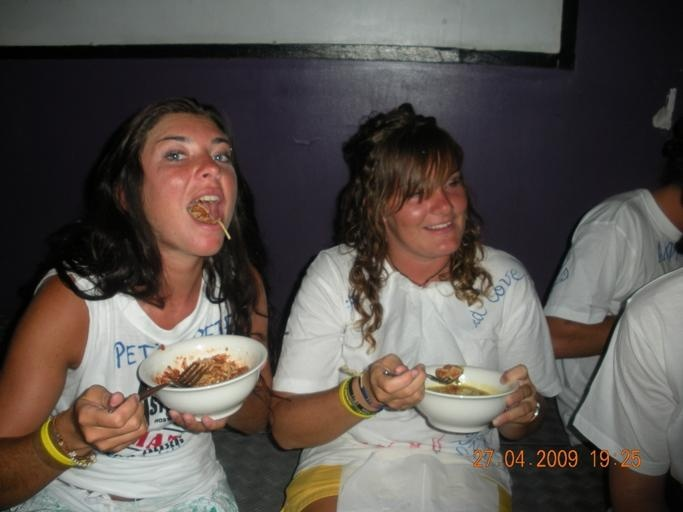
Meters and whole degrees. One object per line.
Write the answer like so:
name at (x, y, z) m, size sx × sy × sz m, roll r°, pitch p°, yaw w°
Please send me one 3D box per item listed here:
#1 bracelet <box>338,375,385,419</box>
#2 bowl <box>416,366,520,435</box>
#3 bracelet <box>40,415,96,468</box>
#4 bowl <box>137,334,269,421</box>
bracelet at (0.103, 0.606, 2.495) m, size 0.072 × 0.186 × 0.172 m, roll -44°, pitch 48°, yaw -19°
bowl at (0.533, 0.621, 2.390) m, size 0.401 × 0.217 × 0.269 m, roll 3°, pitch 16°, yaw 15°
bracelet at (-1.045, 0.710, 2.215) m, size 0.208 × 0.185 × 0.067 m, roll 40°, pitch 19°, yaw 1°
bowl at (-0.556, 0.525, 2.328) m, size 0.509 × 0.271 × 0.363 m, roll -7°, pitch 17°, yaw -21°
